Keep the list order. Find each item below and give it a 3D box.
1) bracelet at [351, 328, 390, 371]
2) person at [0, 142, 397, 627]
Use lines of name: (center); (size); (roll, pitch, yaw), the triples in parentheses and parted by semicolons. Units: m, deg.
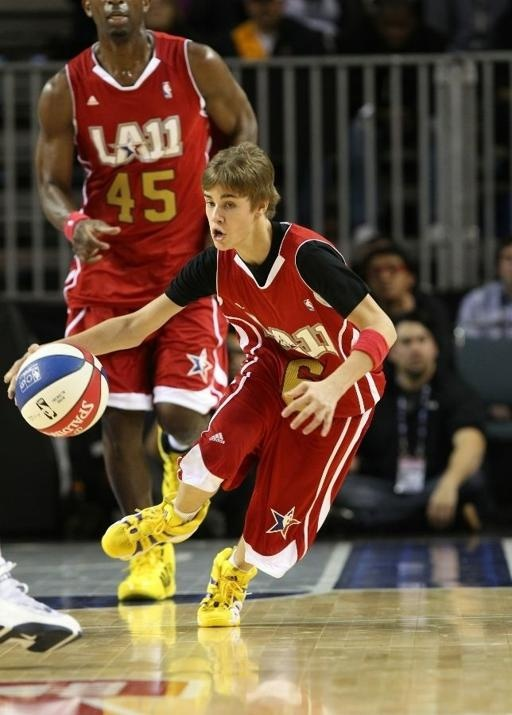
bracelet: (0.246, -0.026, 1.637); (0.076, 0.090, 0.072); (11, -19, 41)
person: (0.006, 0.111, 1.908); (0.809, 1.286, 0.577); (12, 20, 38)
